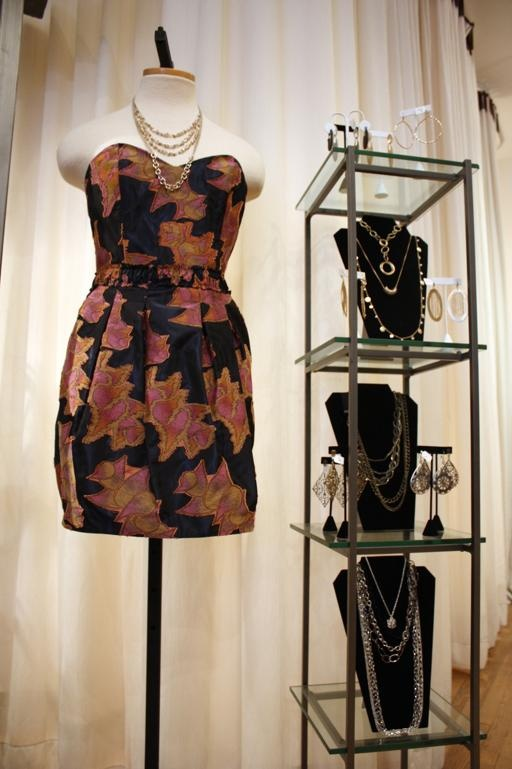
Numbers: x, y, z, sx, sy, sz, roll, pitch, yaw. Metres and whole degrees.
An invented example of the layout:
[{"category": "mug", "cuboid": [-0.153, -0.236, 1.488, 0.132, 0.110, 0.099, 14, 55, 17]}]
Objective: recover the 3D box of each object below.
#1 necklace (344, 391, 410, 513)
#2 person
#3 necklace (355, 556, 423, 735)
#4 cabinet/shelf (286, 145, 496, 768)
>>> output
[{"category": "necklace", "cuboid": [0.284, 0.149, 1.565, 0.114, 0.229, 0.041, -2, -4, -10]}, {"category": "person", "cuboid": [-0.174, -0.171, 1.375, 0.372, 0.916, 0.244, 2, -16, -12]}, {"category": "necklace", "cuboid": [0.278, 0.529, 1.507, 0.126, 0.323, 0.101, -3, -3, 13]}, {"category": "cabinet/shelf", "cuboid": [0.287, 0.163, 1.635, 0.442, 1.451, 0.533, -2, -3, -3]}]
